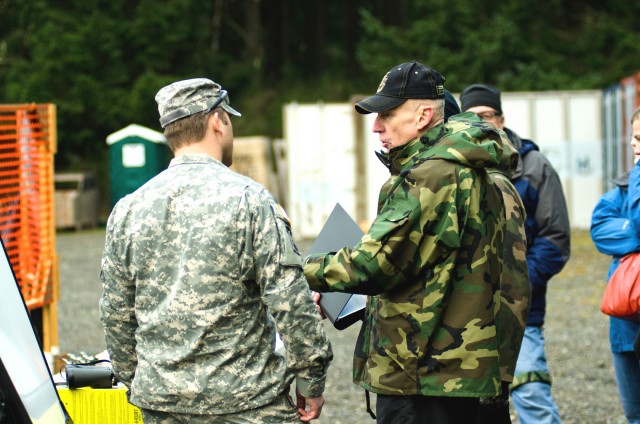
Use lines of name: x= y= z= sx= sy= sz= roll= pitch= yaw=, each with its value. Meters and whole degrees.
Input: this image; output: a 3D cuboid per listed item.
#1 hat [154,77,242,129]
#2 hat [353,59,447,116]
hat: x=-1.859 y=-1.658 z=21.152 sx=0.870 sy=0.516 sz=0.752 roll=-4 pitch=-1 yaw=-20
hat: x=1.231 y=-1.880 z=21.331 sx=1.019 sy=0.682 sz=0.708 roll=1 pitch=3 yaw=-1
